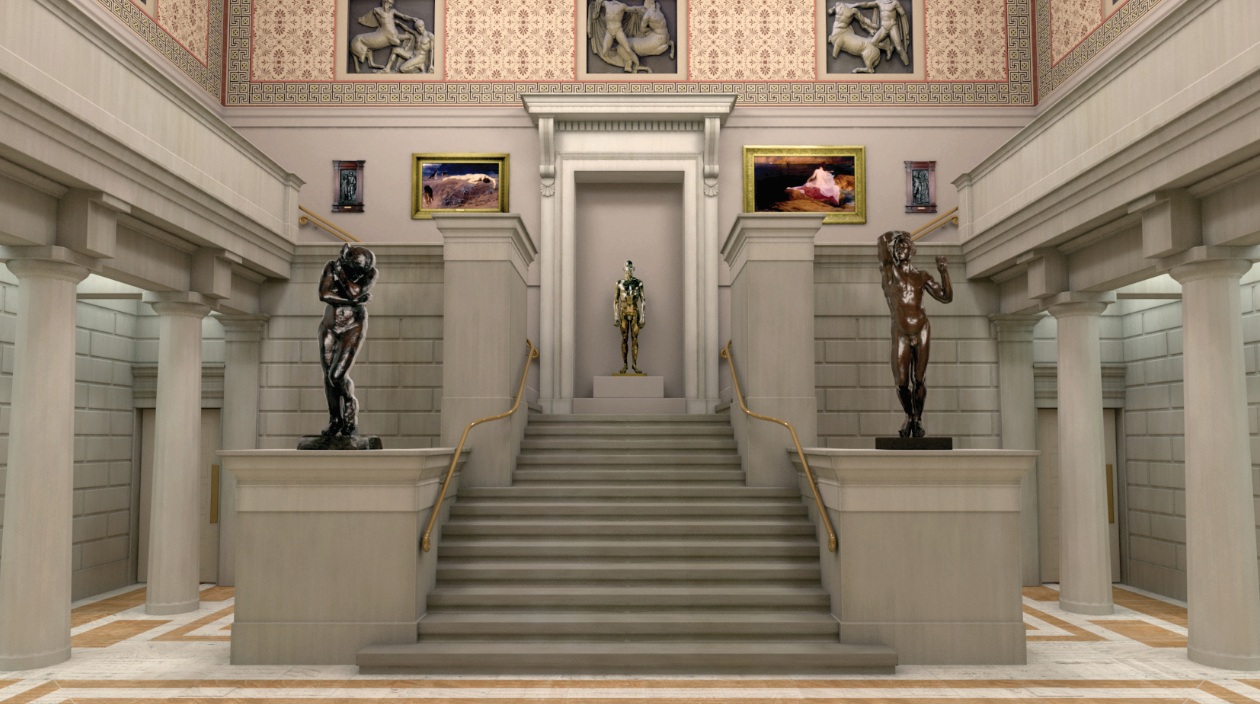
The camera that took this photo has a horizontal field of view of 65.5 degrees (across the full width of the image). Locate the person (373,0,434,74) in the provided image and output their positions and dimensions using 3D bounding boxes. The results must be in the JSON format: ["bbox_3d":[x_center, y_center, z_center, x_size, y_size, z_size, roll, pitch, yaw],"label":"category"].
[{"bbox_3d":[-4.030,-5.498,17.270,1.340,1.624,0.393,0,-5,0],"label":"person"}]

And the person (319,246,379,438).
[{"bbox_3d":[-3.446,-0.128,11.981,0.658,2.318,0.508,-2,5,-17],"label":"person"}]

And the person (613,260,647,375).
[{"bbox_3d":[0.001,-0.578,16.930,0.503,1.924,0.750,0,5,-1],"label":"person"}]

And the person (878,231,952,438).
[{"bbox_3d":[3.558,-0.224,12.427,0.826,2.579,0.911,2,6,27],"label":"person"}]
